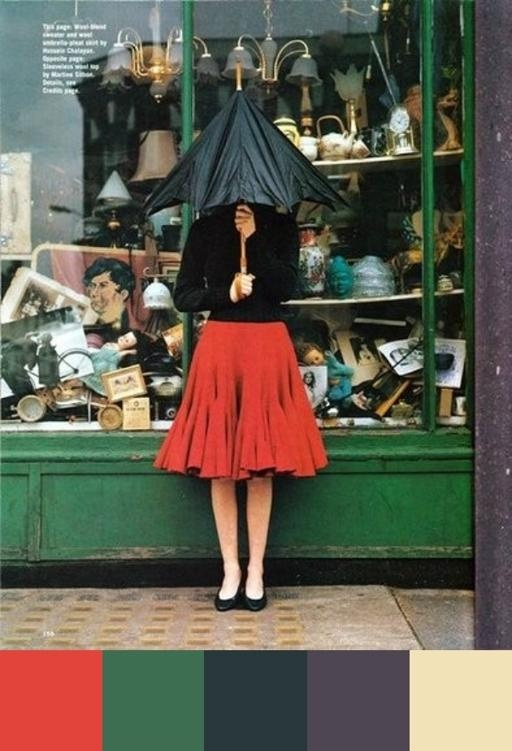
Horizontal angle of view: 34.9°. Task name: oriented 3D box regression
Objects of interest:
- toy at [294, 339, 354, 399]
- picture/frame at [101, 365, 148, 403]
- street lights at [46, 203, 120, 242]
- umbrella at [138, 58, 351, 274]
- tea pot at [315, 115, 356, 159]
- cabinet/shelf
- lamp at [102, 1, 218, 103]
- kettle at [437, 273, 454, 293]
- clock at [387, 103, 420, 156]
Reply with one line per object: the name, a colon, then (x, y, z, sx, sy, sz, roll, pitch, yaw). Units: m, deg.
toy: (0.360, -0.018, 3.952, 0.311, 0.200, 0.110, 36, 11, 23)
picture/frame: (-0.617, 0.051, 3.842, 0.160, 0.129, 0.012, -15, -8, -5)
street lights: (-0.801, -0.703, 3.856, 0.329, 0.191, 0.088, -4, 14, -13)
umbrella: (-0.075, -0.700, 3.300, 0.850, 0.804, 0.789, -4, 4, -30)
tea pot: (0.371, -1.122, 3.875, 0.239, 0.226, 0.151, -5, 9, 11)
cabinet/shelf: (0.555, -0.660, 3.720, 0.794, 0.621, 0.254, 2, -1, 10)
lamp: (-0.458, -1.484, 3.820, 0.467, 0.421, 0.452, -3, 20, -6)
kettle: (0.861, -0.420, 3.728, 0.079, 0.080, 0.077, -6, 7, -31)
clock: (0.682, -1.128, 3.793, 0.165, 0.220, 0.062, 12, 19, 42)
